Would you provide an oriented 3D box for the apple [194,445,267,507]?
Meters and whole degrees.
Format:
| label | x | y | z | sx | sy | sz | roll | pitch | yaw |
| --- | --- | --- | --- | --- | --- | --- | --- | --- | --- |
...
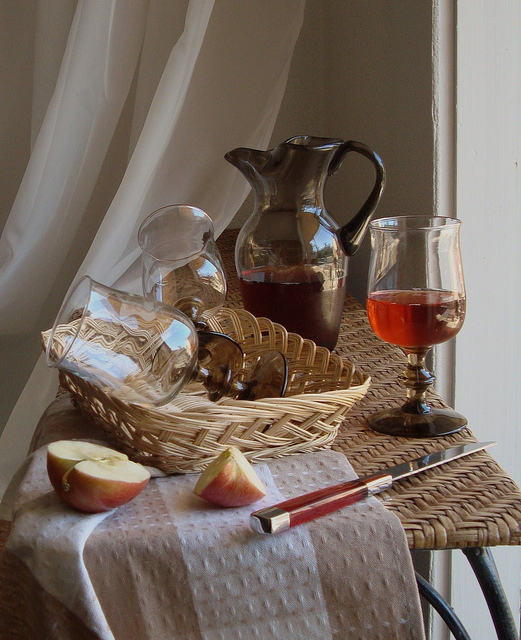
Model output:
| label | x | y | z | sx | sy | sz | roll | pitch | yaw |
| --- | --- | --- | --- | --- | --- | --- | --- | --- | --- |
| apple | -0.020 | 0.117 | 0.445 | 0.061 | 0.033 | 0.052 | 12 | -15 | 3 |

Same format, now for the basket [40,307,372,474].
| label | x | y | z | sx | sy | sz | roll | pitch | yaw |
| --- | --- | --- | --- | --- | --- | --- | --- | --- | --- |
| basket | -0.068 | 0.038 | 0.614 | 0.272 | 0.131 | 0.326 | 2 | 16 | -21 |

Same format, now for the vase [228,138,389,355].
| label | x | y | z | sx | sy | sz | roll | pitch | yaw |
| --- | --- | --- | --- | --- | --- | --- | --- | --- | --- |
| vase | 0.053 | -0.080 | 0.723 | 0.188 | 0.242 | 0.132 | 0 | 17 | 7 |

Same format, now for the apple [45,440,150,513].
| label | x | y | z | sx | sy | sz | roll | pitch | yaw |
| --- | --- | --- | --- | --- | --- | --- | --- | --- | --- |
| apple | -0.114 | 0.112 | 0.437 | 0.067 | 0.032 | 0.069 | 23 | 2 | 29 |
